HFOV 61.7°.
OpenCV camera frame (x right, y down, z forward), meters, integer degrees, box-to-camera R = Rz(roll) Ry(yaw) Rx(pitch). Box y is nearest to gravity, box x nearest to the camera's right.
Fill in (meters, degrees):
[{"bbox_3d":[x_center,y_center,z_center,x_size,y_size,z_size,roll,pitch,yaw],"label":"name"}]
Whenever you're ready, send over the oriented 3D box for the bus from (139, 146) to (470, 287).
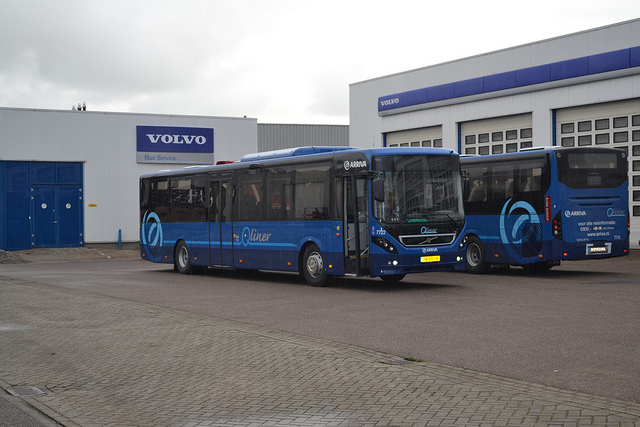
[{"bbox_3d":[-1.811,0.001,21.536,4.237,4.611,14.625,-3,1,-45],"label":"bus"}]
